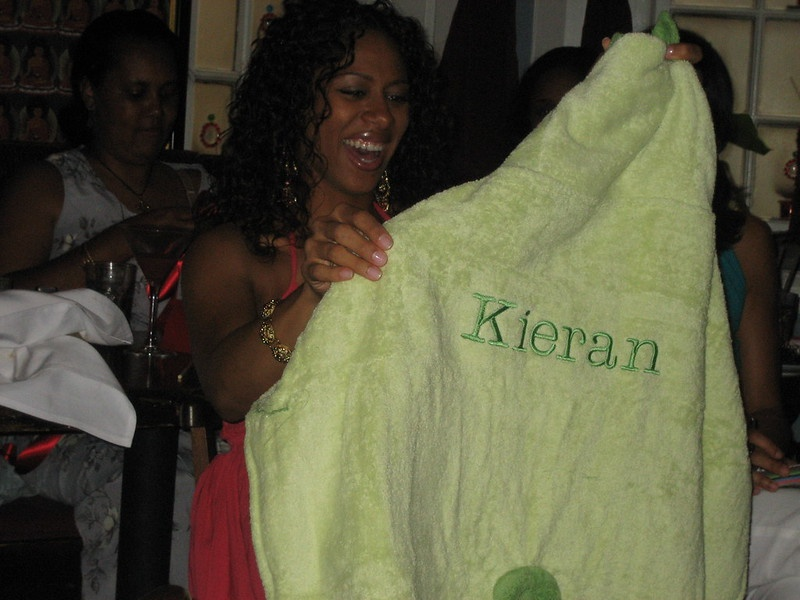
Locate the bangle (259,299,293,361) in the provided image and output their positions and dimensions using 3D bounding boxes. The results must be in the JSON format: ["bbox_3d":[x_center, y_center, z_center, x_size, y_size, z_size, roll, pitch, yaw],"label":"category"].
[{"bbox_3d":[-0.232,0.057,1.755,0.041,0.115,0.090,1,27,-24],"label":"bangle"}]

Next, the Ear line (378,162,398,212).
[{"bbox_3d":[-0.037,-0.268,2.302,0.041,0.099,0.031,5,1,-1],"label":"Ear line"}]
